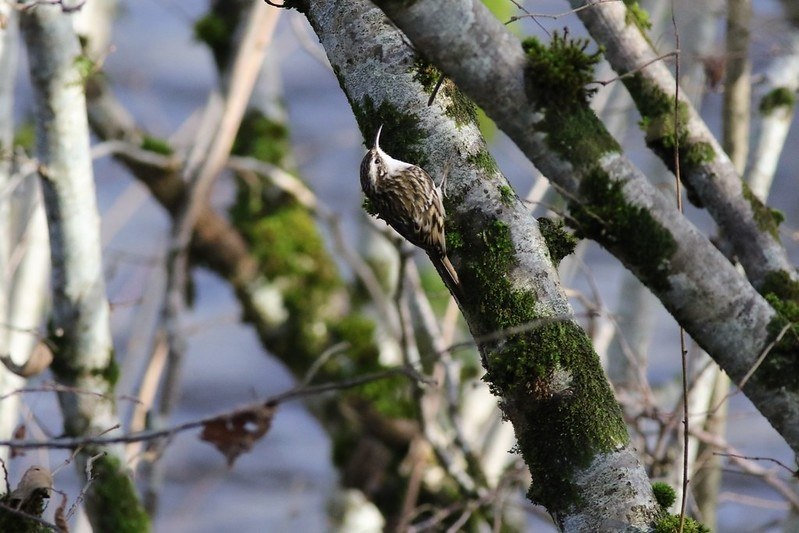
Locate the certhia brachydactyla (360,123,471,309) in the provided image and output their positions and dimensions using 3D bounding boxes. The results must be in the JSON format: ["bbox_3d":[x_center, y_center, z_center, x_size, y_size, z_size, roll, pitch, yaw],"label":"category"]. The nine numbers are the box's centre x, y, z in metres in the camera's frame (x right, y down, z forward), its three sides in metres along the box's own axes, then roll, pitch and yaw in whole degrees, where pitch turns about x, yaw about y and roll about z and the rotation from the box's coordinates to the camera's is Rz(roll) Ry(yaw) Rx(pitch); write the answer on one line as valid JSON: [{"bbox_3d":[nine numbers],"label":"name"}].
[{"bbox_3d":[0.050,-0.362,8.495,0.631,1.440,0.433,-1,10,12],"label":"certhia brachydactyla"}]
